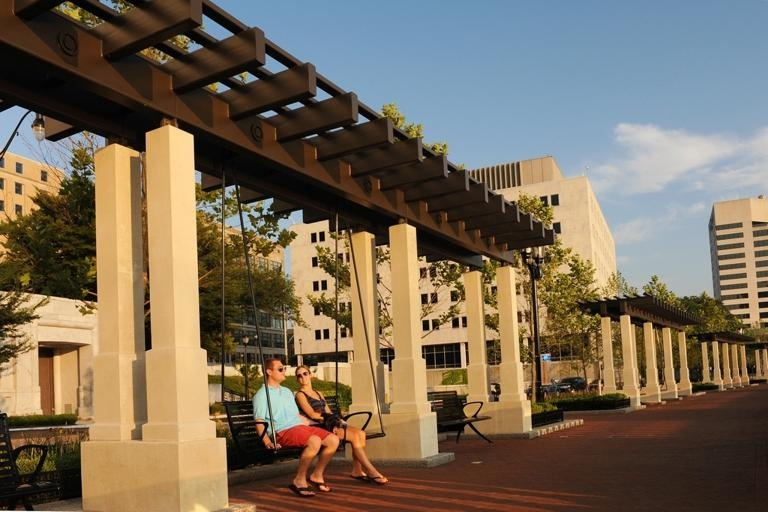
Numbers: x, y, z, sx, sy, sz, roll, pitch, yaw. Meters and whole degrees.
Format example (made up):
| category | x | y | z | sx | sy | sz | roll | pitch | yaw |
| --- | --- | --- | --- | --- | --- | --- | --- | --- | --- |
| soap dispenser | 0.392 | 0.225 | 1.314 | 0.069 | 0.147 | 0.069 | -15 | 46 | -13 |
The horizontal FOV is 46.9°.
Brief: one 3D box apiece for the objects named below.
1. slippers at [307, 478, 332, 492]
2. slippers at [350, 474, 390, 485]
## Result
| category | x | y | z | sx | sy | sz | roll | pitch | yaw |
| --- | --- | --- | --- | --- | --- | --- | --- | --- | --- |
| slippers | -1.079 | 3.850 | 14.751 | 0.381 | 0.103 | 0.180 | -3 | -17 | 37 |
| slippers | -0.286 | 3.895 | 15.256 | 0.689 | 0.102 | 0.213 | -11 | -22 | 39 |
